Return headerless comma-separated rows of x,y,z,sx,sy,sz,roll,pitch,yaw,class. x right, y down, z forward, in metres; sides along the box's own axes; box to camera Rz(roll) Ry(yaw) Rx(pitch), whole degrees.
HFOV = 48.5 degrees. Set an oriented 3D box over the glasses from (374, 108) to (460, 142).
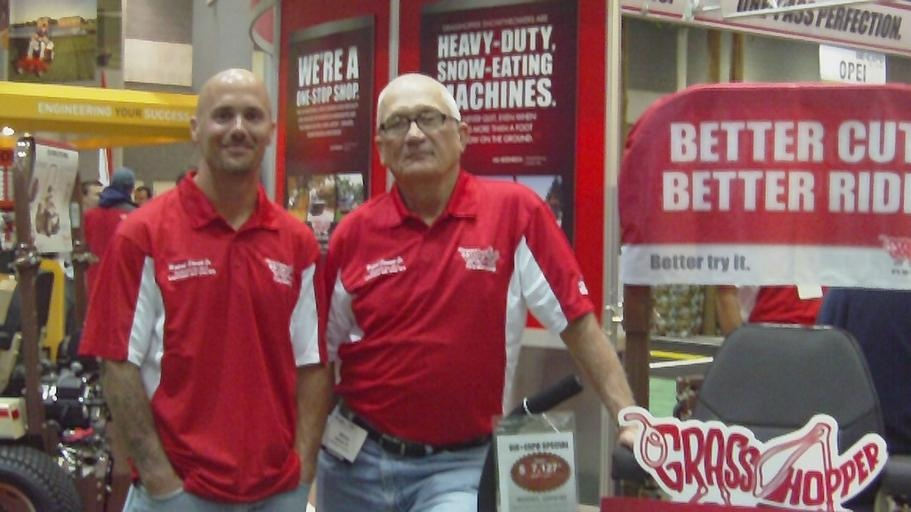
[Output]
-0.185,-0.681,5.311,0.431,0.158,0.119,1,-2,-6,glasses
